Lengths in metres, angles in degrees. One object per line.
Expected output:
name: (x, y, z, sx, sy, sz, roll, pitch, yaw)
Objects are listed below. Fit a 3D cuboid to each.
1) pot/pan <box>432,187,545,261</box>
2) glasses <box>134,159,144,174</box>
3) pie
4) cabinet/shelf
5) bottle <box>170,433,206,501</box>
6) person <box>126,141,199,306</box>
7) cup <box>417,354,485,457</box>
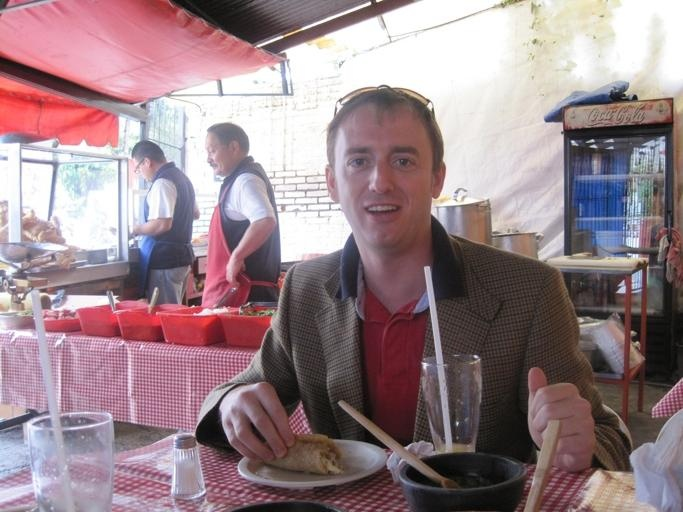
pot/pan: (0.965, -0.187, 3.879, 0.745, 0.307, 0.528, 9, -2, -19)
glasses: (-1.553, -0.686, 4.503, 0.025, 0.089, 0.084, -2, 0, -4)
pie: (-0.065, 0.420, 1.266, 0.122, 0.053, 0.073, -7, 0, 32)
cabinet/shelf: (1.600, 0.543, 3.768, 0.585, 0.962, 0.577, 0, -1, 26)
bottle: (-0.321, 0.436, 1.227, 0.076, 0.118, 0.076, -4, -1, 0)
person: (-1.322, -0.266, 4.421, 0.455, 1.256, 0.500, -1, 4, -19)
cup: (0.225, 0.303, 1.212, 0.130, 0.213, 0.132, -4, 8, 1)
